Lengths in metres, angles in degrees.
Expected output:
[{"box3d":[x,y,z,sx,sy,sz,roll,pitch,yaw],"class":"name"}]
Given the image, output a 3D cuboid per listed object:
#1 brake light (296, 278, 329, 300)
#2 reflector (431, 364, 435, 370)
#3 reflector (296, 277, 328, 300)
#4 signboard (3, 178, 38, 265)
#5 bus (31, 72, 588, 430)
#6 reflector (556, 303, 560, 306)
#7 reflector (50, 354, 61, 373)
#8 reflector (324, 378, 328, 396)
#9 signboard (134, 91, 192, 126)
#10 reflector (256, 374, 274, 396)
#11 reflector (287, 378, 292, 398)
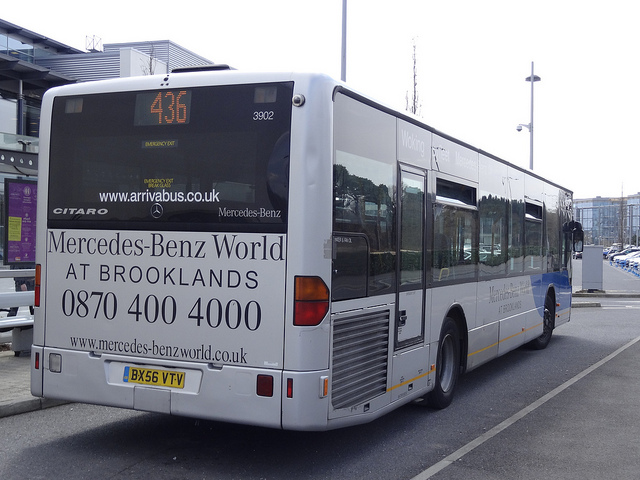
[{"box3d":[-0.064,0.434,4.544,0.276,0.229,0.159,5,-6,-19],"class":"brake light"},{"box3d":[1.423,1.592,6.557,0.034,0.061,0.063,3,3,41],"class":"reflector"},{"box3d":[-0.078,0.424,4.543,0.154,0.226,0.289,-6,-9,45],"class":"reflector"},{"box3d":[-5.420,-0.338,9.408,0.391,1.598,0.438,-1,2,9],"class":"signboard"},{"box3d":[-0.074,0.320,5.905,5.473,3.784,2.306,2,-1,-34],"class":"bus"},{"box3d":[5.770,1.557,12.616,0.069,0.074,0.070,-4,4,-33],"class":"reflector"},{"box3d":[-2.658,1.244,5.244,0.153,0.244,0.025,-4,-8,19],"class":"reflector"},{"box3d":[0.053,1.297,4.610,0.003,0.136,0.048,0,-1,37],"class":"reflector"},{"box3d":[-1.506,-1.287,5.076,0.762,0.499,0.059,1,-4,15],"class":"signboard"},{"box3d":[-0.479,1.280,4.588,0.168,0.268,0.127,0,-1,14],"class":"reflector"},{"box3d":[-0.263,1.283,4.528,0.043,0.167,0.012,1,-1,7],"class":"reflector"}]
